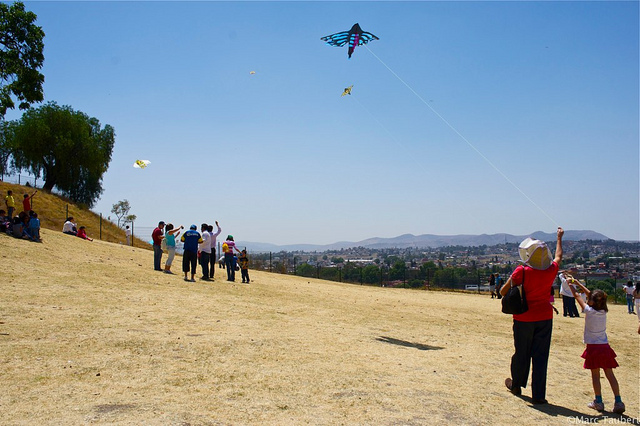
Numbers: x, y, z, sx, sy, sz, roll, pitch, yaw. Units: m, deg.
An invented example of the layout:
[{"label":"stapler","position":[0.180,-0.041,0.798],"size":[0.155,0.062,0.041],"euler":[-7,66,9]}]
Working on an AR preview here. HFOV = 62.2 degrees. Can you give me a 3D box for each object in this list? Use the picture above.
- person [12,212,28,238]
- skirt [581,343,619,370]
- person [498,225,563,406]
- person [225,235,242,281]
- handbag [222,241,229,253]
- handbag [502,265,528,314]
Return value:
[{"label":"person","position":[-13.998,0.578,24.707],"size":[0.559,1.081,0.855],"euler":[3,2,-30]},{"label":"skirt","position":[6.997,3.485,13.290],"size":[0.804,0.830,0.630],"euler":[-11,-11,27]},{"label":"person","position":[5.245,2.657,13.180],"size":[1.209,4.212,0.720],"euler":[5,2,18]},{"label":"person","position":[-4.313,2.141,24.945],"size":[0.979,2.239,0.701],"euler":[-1,-12,-12]},{"label":"handbag","position":[-4.402,1.668,24.691],"size":[0.238,0.355,0.115],"euler":[3,1,21]},{"label":"handbag","position":[4.807,1.893,12.993],"size":[0.611,1.124,0.298],"euler":[4,2,11]}]
